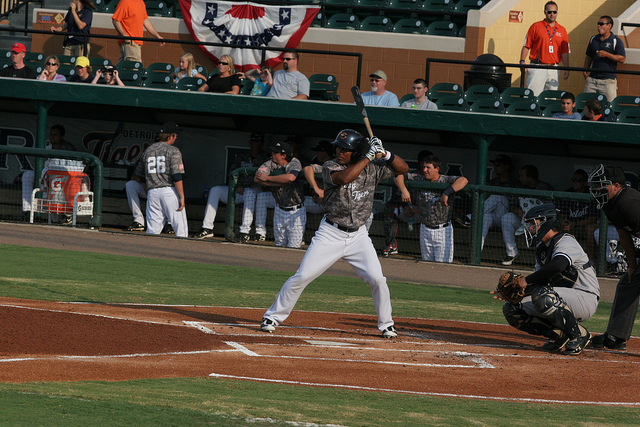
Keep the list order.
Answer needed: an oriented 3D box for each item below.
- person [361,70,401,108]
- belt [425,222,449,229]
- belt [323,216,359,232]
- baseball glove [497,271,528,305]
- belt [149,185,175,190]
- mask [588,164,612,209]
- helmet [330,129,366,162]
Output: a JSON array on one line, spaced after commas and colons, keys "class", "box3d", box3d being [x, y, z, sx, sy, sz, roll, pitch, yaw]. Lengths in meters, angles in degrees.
[{"class": "person", "box3d": [1.151, -2.409, 27.826, 0.606, 0.817, 1.065, 1, 0, 3]}, {"class": "belt", "box3d": [2.176, 0.218, 26.648, 0.430, 0.097, 0.087, 2, -1, 2]}, {"class": "belt", "box3d": [0.316, 0.165, 21.907, 0.518, 0.196, 0.062, 2, -1, -1]}, {"class": "baseball glove", "box3d": [3.035, 1.142, 22.231, 0.547, 0.328, 0.432, 23, -22, 29]}, {"class": "belt", "box3d": [-2.985, -0.513, 27.023, 0.418, 0.075, 0.085, 2, -1, -27]}, {"class": "mask", "box3d": [4.305, -0.404, 22.053, 0.265, 0.529, 0.443, -11, 21, -19]}, {"class": "helmet", "box3d": [0.453, -1.107, 22.058, 0.598, 0.424, 0.465, 1, 22, -22]}]
